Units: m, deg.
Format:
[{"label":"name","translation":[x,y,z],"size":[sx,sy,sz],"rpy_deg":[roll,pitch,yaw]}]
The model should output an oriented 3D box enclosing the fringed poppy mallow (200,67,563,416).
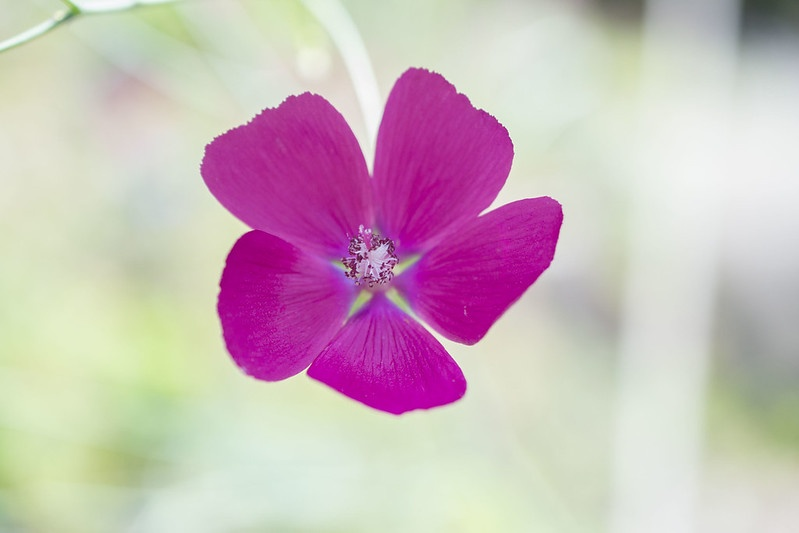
[{"label":"fringed poppy mallow","translation":[-0.006,-0.097,1.667],"size":[0.723,0.741,0.396],"rpy_deg":[25,-7,7]}]
